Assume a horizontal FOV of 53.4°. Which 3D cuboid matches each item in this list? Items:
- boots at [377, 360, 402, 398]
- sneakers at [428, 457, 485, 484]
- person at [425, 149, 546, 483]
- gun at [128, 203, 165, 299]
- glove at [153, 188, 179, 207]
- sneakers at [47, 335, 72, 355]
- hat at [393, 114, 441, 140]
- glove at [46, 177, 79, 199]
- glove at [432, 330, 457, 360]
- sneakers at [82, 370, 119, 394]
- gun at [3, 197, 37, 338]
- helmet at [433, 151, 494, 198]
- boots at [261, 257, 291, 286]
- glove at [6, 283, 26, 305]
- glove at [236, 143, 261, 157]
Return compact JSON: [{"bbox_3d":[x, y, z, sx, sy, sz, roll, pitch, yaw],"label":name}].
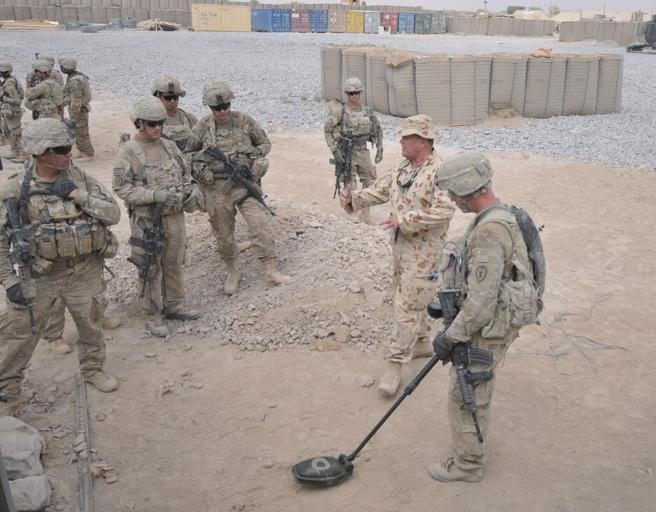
[{"bbox_3d":[0.608,1.239,6.387,0.184,0.233,0.551,14,0,14],"label":"boots"},{"bbox_3d":[1.014,1.773,5.345,0.497,0.210,0.176,4,15,9],"label":"sneakers"},{"bbox_3d":[1.198,0.532,5.195,0.815,2.620,0.729,-5,22,-14],"label":"person"},{"bbox_3d":[-1.989,-0.047,7.201,0.383,1.111,0.273,-4,21,-12],"label":"gun"},{"bbox_3d":[-1.694,-0.607,6.868,0.328,0.177,0.201,7,8,33],"label":"glove"},{"bbox_3d":[-2.869,0.970,6.994,0.267,0.111,0.143,2,9,43],"label":"sneakers"},{"bbox_3d":[0.797,-1.186,5.991,0.318,0.122,0.297,10,22,22],"label":"hat"},{"bbox_3d":[-2.345,-0.586,5.816,0.203,0.177,0.159,5,20,12],"label":"glove"},{"bbox_3d":[0.896,0.706,5.097,0.174,0.096,0.218,-8,34,-10],"label":"glove"},{"bbox_3d":[-2.209,1.223,6.472,0.355,0.236,0.173,2,25,16],"label":"sneakers"},{"bbox_3d":[-2.668,0.066,5.667,0.200,1.216,0.519,-5,0,-37],"label":"gun"},{"bbox_3d":[1.067,-0.665,5.057,0.391,0.299,0.350,-15,20,34],"label":"helmet"},{"bbox_3d":[-0.661,0.201,8.095,0.467,0.412,0.224,-7,12,0],"label":"boots"},{"bbox_3d":[-2.676,0.332,5.614,0.162,0.189,0.073,-3,21,-10],"label":"glove"},{"bbox_3d":[-0.919,-1.249,7.717,0.203,0.057,0.146,6,29,-16],"label":"glove"}]
